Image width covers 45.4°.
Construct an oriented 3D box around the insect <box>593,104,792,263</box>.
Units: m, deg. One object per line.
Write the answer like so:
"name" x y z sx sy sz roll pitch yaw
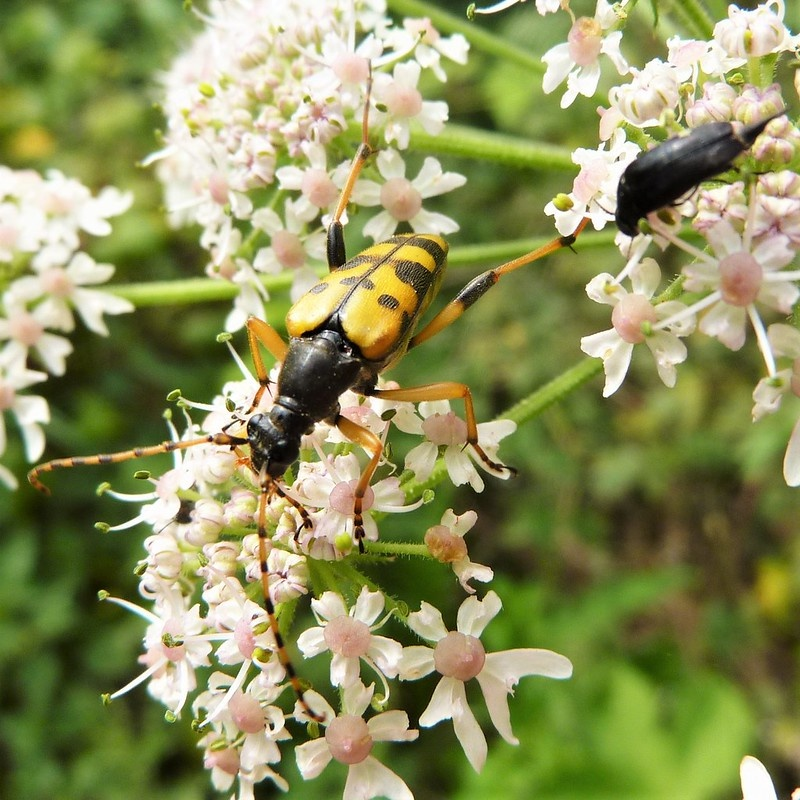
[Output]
"insect" 1.037 -0.752 3.369 0.510 0.156 0.364 -32 54 29
